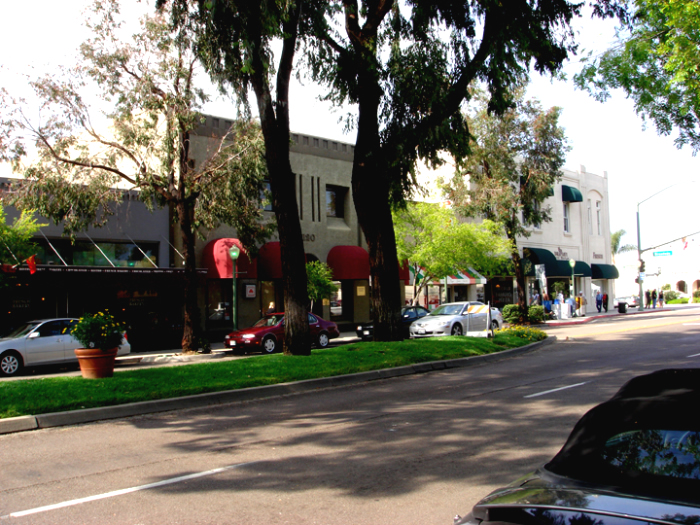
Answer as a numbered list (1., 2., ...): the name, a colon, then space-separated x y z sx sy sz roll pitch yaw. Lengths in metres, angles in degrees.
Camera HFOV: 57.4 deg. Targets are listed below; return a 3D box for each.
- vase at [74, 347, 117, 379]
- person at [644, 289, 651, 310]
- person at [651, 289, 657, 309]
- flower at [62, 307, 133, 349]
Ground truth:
1. vase: -6.317 2.505 16.221 0.695 0.653 0.810 -1 -9 5
2. person: 28.550 3.484 61.027 0.448 1.706 2.419 -4 12 26
3. person: 29.738 3.727 62.366 0.430 1.829 2.753 -4 12 24
4. flower: -6.358 1.553 16.031 1.123 1.198 1.078 -1 19 -40
